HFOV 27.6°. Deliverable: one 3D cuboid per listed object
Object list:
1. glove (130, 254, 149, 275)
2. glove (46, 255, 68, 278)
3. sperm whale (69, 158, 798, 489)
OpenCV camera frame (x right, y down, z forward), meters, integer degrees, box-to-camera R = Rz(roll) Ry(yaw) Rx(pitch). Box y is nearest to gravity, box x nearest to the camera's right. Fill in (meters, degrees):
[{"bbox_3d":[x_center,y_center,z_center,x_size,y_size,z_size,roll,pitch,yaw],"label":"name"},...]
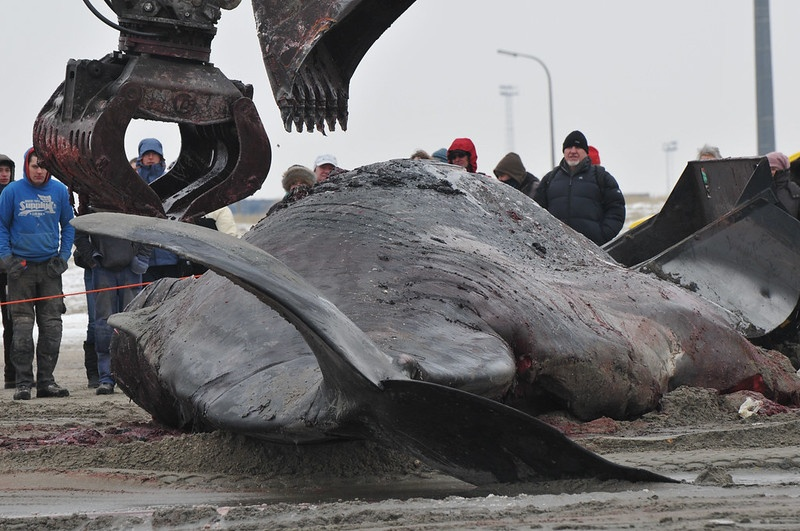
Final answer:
[{"bbox_3d":[-2.597,-0.015,16.283,0.136,0.154,0.176,-3,-5,11],"label":"glove"},{"bbox_3d":[-3.385,0.015,16.157,0.177,0.072,0.182,40,31,13],"label":"glove"},{"bbox_3d":[0.377,0.382,12.130,2.691,1.463,3.531,-4,-1,19],"label":"sperm whale"}]
